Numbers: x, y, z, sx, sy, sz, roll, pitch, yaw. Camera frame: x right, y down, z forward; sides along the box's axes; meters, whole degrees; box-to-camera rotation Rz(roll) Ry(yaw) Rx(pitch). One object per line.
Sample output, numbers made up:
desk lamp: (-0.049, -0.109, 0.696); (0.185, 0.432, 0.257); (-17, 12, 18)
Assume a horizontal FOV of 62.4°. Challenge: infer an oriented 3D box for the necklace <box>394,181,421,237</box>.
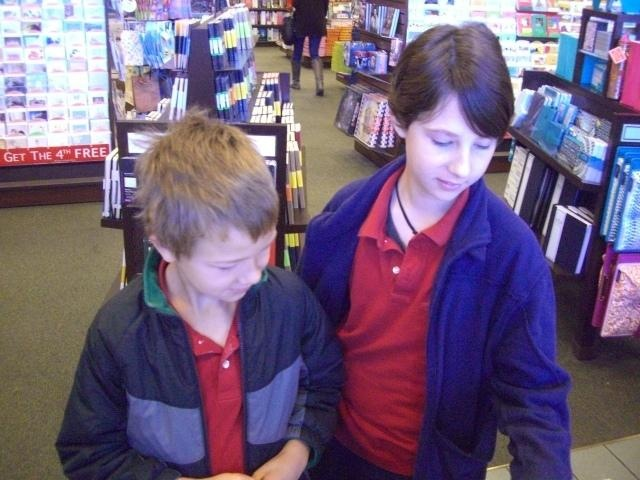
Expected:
necklace: (0.272, -0.094, 1.688); (0.028, 0.150, 0.078); (-11, -2, 37)
